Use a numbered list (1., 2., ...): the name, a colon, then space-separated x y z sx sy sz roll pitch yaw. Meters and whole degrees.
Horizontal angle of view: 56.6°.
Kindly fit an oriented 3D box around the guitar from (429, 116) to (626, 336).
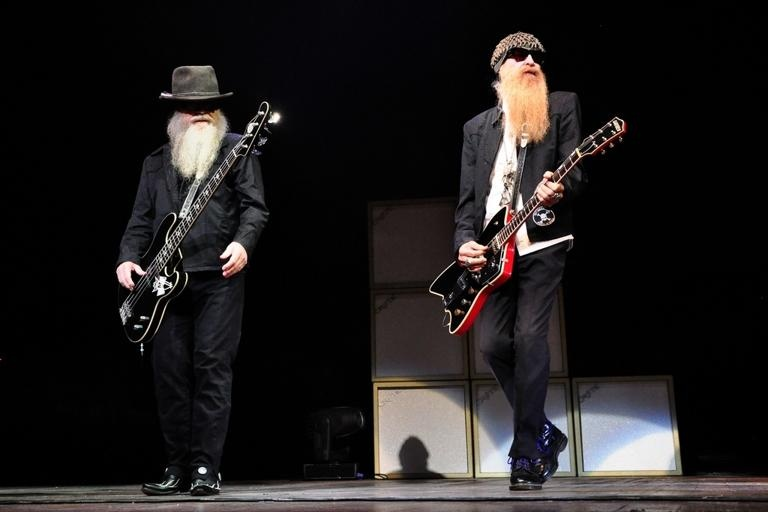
1. guitar: 0.766 -0.140 4.026 0.351 1.076 1.109 14 -20 -40

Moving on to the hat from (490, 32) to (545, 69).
1. hat: 0.762 -1.241 4.298 0.255 0.142 0.323 0 -7 -13

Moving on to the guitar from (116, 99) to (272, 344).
1. guitar: -1.121 -0.224 4.145 0.881 1.420 0.222 -6 -17 24
